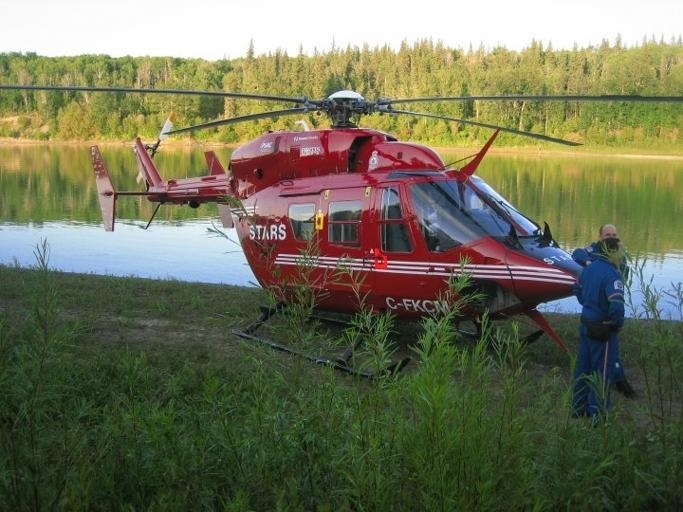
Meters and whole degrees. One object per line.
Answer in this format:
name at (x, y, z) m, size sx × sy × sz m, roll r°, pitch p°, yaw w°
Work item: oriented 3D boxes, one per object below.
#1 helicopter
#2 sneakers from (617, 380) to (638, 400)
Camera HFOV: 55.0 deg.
helicopter at (-0.166, -0.611, 9.607) m, size 6.010 × 2.194 × 5.569 m, roll 4°, pitch 10°, yaw 34°
sneakers at (3.627, 1.705, 8.387) m, size 0.238 × 0.099 × 0.196 m, roll 26°, pitch 25°, yaw 38°
